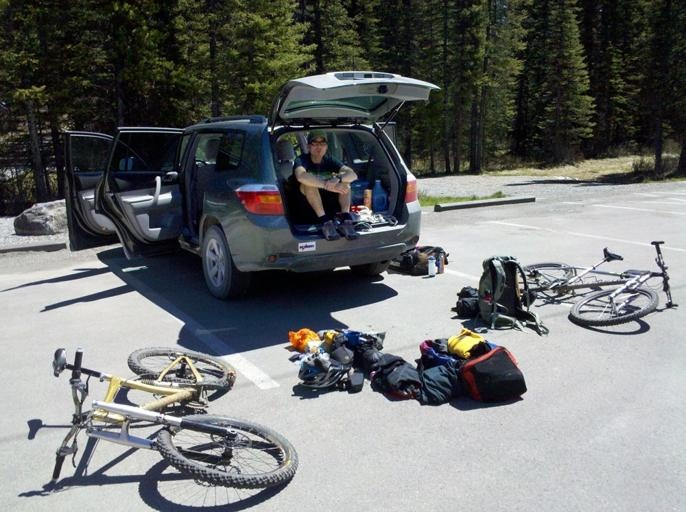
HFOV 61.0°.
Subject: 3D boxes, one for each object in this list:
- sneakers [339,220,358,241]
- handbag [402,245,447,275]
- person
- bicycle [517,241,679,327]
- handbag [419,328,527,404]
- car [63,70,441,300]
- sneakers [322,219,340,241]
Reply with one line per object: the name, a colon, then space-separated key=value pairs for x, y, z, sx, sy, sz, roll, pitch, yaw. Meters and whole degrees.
sneakers: x=0.055 y=-0.296 z=6.666 sx=0.135 sy=0.109 sz=0.271 roll=-15 pitch=30 yaw=-26
handbag: x=1.126 y=0.056 z=8.498 sx=0.464 sy=0.182 sz=0.547 roll=-7 pitch=10 yaw=-32
person: x=-0.226 y=-0.888 z=7.009 sx=0.731 sy=1.255 sz=1.208 roll=-5 pitch=11 yaw=-4
bicycle: x=3.027 y=0.411 z=7.093 sx=1.264 sy=0.925 sz=1.962 roll=-15 pitch=11 yaw=-16
handbag: x=1.125 y=0.946 z=5.160 sx=0.593 sy=0.269 sz=0.717 roll=-11 pitch=26 yaw=-27
car: x=-1.051 y=-0.934 z=7.983 sx=4.977 sy=2.619 sz=2.711 roll=4 pitch=13 yaw=34
sneakers: x=-0.144 y=-0.300 z=6.667 sx=0.196 sy=0.221 sz=0.301 roll=-4 pitch=11 yaw=0
